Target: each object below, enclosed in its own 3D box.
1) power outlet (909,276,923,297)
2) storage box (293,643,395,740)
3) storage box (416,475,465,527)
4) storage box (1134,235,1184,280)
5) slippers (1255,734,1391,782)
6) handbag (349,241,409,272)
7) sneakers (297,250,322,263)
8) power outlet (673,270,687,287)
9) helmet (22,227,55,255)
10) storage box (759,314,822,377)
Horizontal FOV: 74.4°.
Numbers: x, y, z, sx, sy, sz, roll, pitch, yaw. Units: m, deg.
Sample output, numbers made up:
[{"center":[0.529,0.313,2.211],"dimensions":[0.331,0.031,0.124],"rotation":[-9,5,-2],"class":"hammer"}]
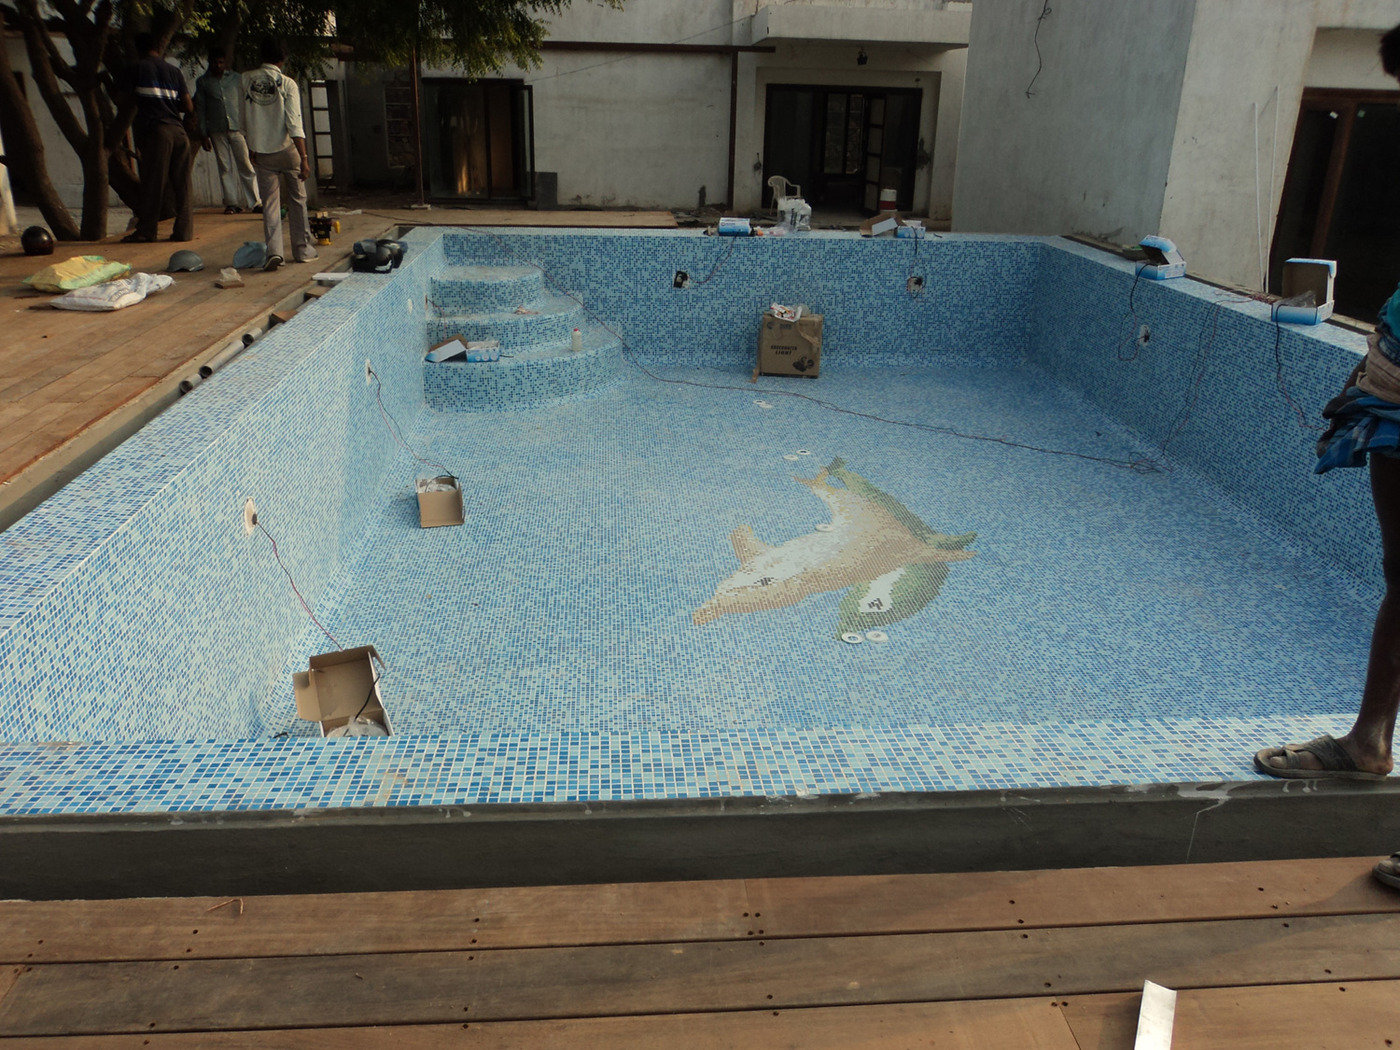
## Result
[{"center":[1.891,-2.063,7.998],"dimensions":[0.112,0.052,0.140],"rotation":[1,57,-5],"class":"power outlet"},{"center":[-1.260,0.592,3.302],"dimensions":[0.307,0.352,0.508],"rotation":[-7,-3,-11],"class":"storage box"},{"center":[-1.366,-0.102,4.957],"dimensions":[0.290,0.165,0.263],"rotation":[-4,32,-11],"class":"storage box"},{"center":[3.150,-1.807,6.274],"dimensions":[0.299,0.260,0.294],"rotation":[14,28,26],"class":"storage box"},{"center":[1.443,0.548,2.152],"dimensions":[0.292,0.091,0.130],"rotation":[2,13,6],"class":"slippers"},{"center":[-2.089,-1.713,6.057],"dimensions":[0.314,0.144,0.369],"rotation":[-1,27,-4],"class":"handbag"},{"center":[-2.873,-1.981,6.803],"dimensions":[0.079,0.073,0.176],"rotation":[-4,27,-5],"class":"sneakers"},{"center":[-0.162,-2.092,7.874],"dimensions":[0.135,0.031,0.118],"rotation":[10,54,4],"class":"power outlet"},{"center":[-4.946,-2.111,6.869],"dimensions":[0.136,0.194,0.222],"rotation":[2,25,2],"class":"helmet"},{"center":[0.748,-1.520,7.752],"dimensions":[0.520,0.484,0.510],"rotation":[2,33,2],"class":"storage box"}]
